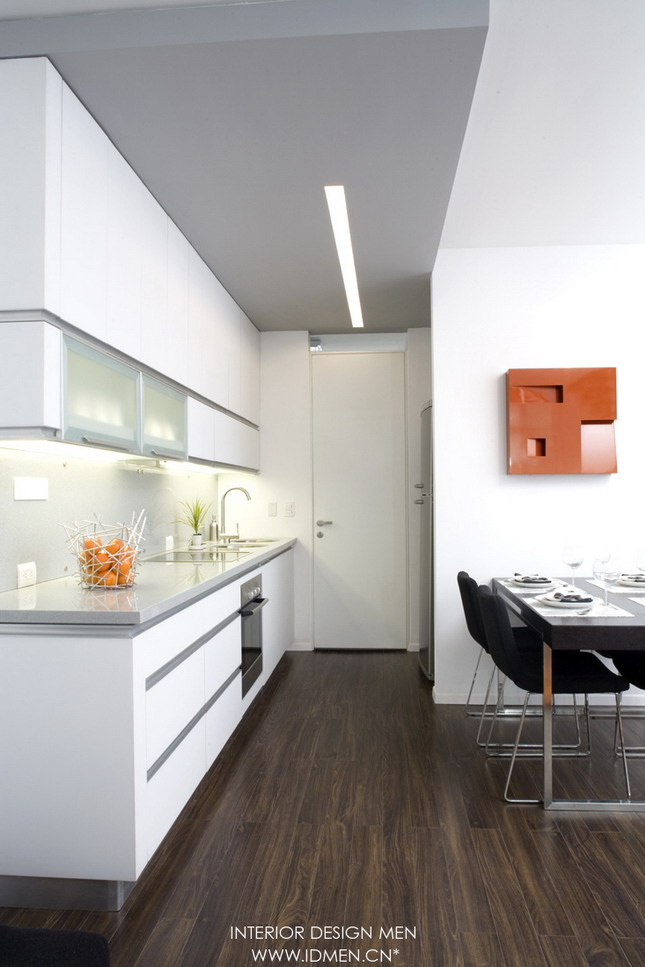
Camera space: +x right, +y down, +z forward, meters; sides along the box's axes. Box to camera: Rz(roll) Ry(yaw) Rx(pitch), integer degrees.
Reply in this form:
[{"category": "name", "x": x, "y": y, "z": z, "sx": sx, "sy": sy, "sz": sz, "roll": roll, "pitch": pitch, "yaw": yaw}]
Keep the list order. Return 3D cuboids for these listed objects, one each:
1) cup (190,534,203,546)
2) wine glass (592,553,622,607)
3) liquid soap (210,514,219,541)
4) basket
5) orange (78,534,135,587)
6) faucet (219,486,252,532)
[{"category": "cup", "x": -0.747, "y": 0.334, "z": 3.975, "sx": 0.056, "sy": 0.076, "sz": 0.064, "roll": 1, "pitch": 3, "yaw": 6}, {"category": "wine glass", "x": 1.383, "y": 0.476, "z": 3.244, "sx": 0.134, "sy": 0.378, "sz": 0.138, "roll": -2, "pitch": 2, "yaw": 16}, {"category": "liquid soap", "x": -0.746, "y": 0.312, "z": 4.570, "sx": 0.059, "sy": 0.157, "sz": 0.251, "roll": 0, "pitch": -2, "yaw": -11}, {"category": "basket", "x": -0.772, "y": 0.262, "z": 2.422, "sx": 0.204, "sy": 0.263, "sz": 0.220, "roll": 1, "pitch": -7, "yaw": -29}, {"category": "orange", "x": -0.755, "y": 0.260, "z": 2.354, "sx": 0.164, "sy": 0.176, "sz": 0.163, "roll": 1, "pitch": -2, "yaw": -27}, {"category": "faucet", "x": -0.641, "y": 0.191, "z": 4.864, "sx": 0.204, "sy": 0.354, "sz": 0.789, "roll": 0, "pitch": -2, "yaw": -8}]
